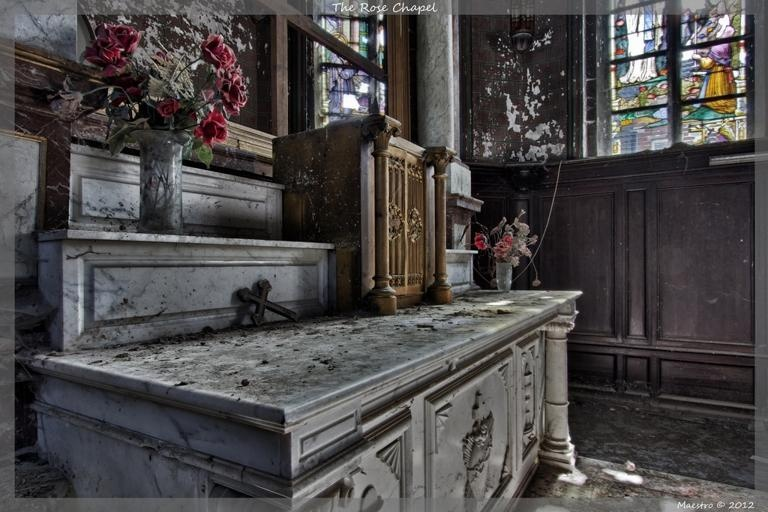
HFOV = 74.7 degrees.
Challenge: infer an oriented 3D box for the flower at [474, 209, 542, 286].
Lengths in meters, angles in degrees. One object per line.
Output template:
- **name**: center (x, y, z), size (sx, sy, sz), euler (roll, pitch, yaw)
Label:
- **flower**: center (1.028, 0.018, 4.177), size (0.509, 0.557, 0.502), euler (-2, -8, 20)

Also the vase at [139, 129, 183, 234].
- **vase**: center (-0.960, -0.316, 2.149), size (0.172, 0.431, 0.118), euler (-2, 8, -25)

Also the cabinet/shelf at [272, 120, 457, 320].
- **cabinet/shelf**: center (-0.075, -0.165, 3.210), size (0.934, 1.247, 1.225), euler (-5, -8, 28)

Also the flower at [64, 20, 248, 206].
- **flower**: center (-0.970, -0.647, 2.256), size (0.583, 0.459, 0.522), euler (18, -8, -43)
